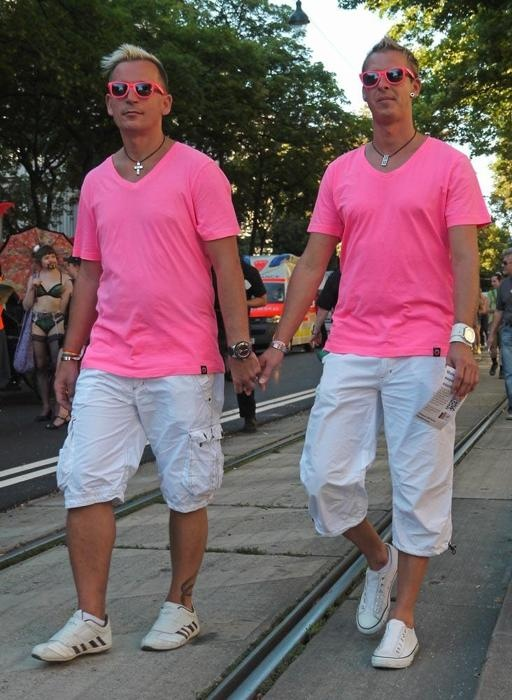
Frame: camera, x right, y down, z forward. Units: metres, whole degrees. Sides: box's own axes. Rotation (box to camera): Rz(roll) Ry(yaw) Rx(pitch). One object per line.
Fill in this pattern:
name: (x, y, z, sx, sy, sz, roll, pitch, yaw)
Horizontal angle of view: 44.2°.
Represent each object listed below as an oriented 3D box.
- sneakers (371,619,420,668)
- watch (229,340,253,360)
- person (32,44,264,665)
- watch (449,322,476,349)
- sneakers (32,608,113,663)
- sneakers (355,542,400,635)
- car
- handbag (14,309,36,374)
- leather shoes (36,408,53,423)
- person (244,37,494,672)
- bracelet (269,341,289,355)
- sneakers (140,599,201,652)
sneakers: (0.398, 0.838, 1.818, 0.079, 0.075, 0.176, -1, -4, 23)
watch: (-0.046, 0.003, 2.069, 0.079, 0.049, 0.085, -3, 1, -44)
person: (-0.351, -0.072, 2.122, 0.719, 2.017, 0.445, -1, -5, -10)
watch: (0.588, -0.044, 1.791, 0.084, 0.054, 0.078, 2, -13, 10)
sneakers: (-0.538, 0.848, 1.874, 0.097, 0.127, 0.284, -9, -17, 27)
sneakers: (0.403, 0.806, 2.137, 0.104, 0.294, 0.119, 1, -39, 35)
car: (0.696, -1.157, 20.639, 1.960, 2.331, 4.651, 9, 5, 17)
handbag: (-3.264, -0.094, 9.043, 0.296, 0.997, 0.252, 3, 4, -31)
leather shoes: (-2.828, 0.893, 8.462, 0.103, 0.100, 0.290, -2, -5, 10)
person: (0.402, -0.065, 2.015, 0.403, 1.954, 0.645, 1, -5, -32)
bracelet: (0.090, -0.016, 2.235, 0.060, 0.038, 0.061, 28, 12, 1)
sneakers: (-0.263, 0.881, 2.032, 0.141, 0.117, 0.301, -3, -7, 16)
